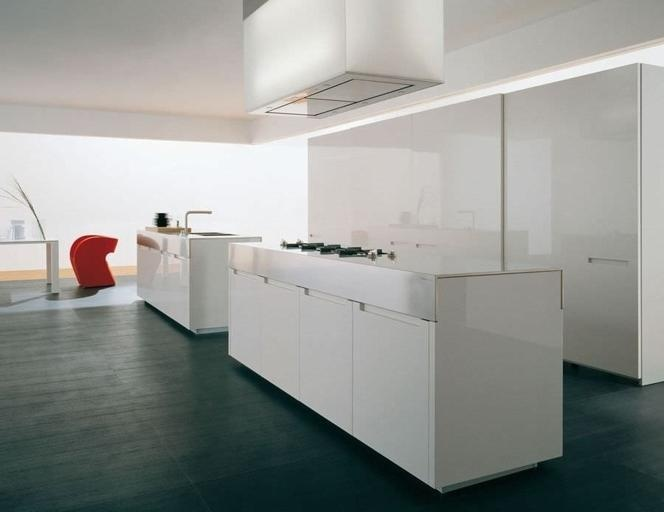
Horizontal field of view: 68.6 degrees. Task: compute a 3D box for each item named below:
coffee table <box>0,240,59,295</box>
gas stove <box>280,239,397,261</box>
[{"bbox_3d":[-5.251,0.159,8.733,0.594,0.911,1.403,-4,7,-32],"label":"coffee table"},{"bbox_3d":[0.063,-0.050,3.517,0.432,0.054,1.375,-5,7,-33],"label":"gas stove"}]
